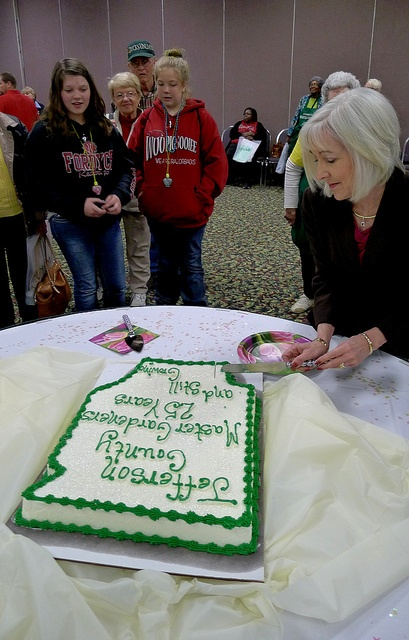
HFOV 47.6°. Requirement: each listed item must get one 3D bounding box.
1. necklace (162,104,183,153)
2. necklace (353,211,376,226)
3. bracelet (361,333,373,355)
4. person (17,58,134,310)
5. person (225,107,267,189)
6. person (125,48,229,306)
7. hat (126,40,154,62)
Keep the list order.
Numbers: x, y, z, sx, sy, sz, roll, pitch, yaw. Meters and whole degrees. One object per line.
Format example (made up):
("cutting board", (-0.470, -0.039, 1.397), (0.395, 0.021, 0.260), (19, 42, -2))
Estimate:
("necklace", (-0.159, -0.986, 2.412), (0.096, 0.219, 0.070), (-2, 21, -2))
("necklace", (0.484, -0.306, 1.411), (0.049, 0.020, 0.043), (10, 49, 28))
("bracelet", (0.435, 0.069, 1.245), (0.011, 0.045, 0.043), (-23, 31, 8))
("person", (-0.587, -0.606, 2.334), (0.553, 1.233, 0.287), (-11, 24, -25))
("person", (0.638, -2.660, 7.201), (0.632, 1.148, 0.619), (6, 22, 18))
("person", (-0.159, -0.741, 2.578), (0.552, 1.369, 0.287), (1, 21, 4))
("hat", (-0.419, -1.777, 3.083), (0.132, 0.093, 0.187), (-7, 27, 6))
